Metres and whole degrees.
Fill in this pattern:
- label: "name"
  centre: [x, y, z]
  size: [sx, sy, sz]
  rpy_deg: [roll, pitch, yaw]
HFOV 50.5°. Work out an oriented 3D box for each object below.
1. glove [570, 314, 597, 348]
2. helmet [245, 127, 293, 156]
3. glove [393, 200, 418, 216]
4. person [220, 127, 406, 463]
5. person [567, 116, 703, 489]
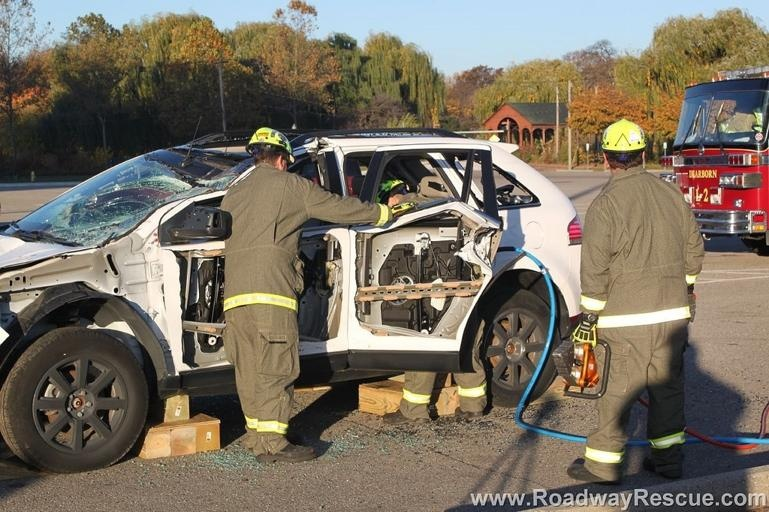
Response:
- label: "glove"
  centre: [1.556, 0.576, 6.339]
  size: [0.181, 0.256, 0.105]
  rpy_deg: [5, 3, 14]
- label: "helmet"
  centre: [-1.030, -1.027, 7.013]
  size: [0.314, 0.177, 0.241]
  rpy_deg: [-5, -16, 32]
- label: "glove"
  centre: [0.166, -0.426, 7.173]
  size: [0.088, 0.101, 0.271]
  rpy_deg: [-1, 11, 38]
- label: "person"
  centre: [-0.812, 0.477, 6.834]
  size: [1.077, 2.424, 0.527]
  rpy_deg: [-2, 9, -7]
- label: "person"
  centre: [1.968, 0.355, 6.421]
  size: [1.081, 2.796, 0.648]
  rpy_deg: [-1, 9, 1]
